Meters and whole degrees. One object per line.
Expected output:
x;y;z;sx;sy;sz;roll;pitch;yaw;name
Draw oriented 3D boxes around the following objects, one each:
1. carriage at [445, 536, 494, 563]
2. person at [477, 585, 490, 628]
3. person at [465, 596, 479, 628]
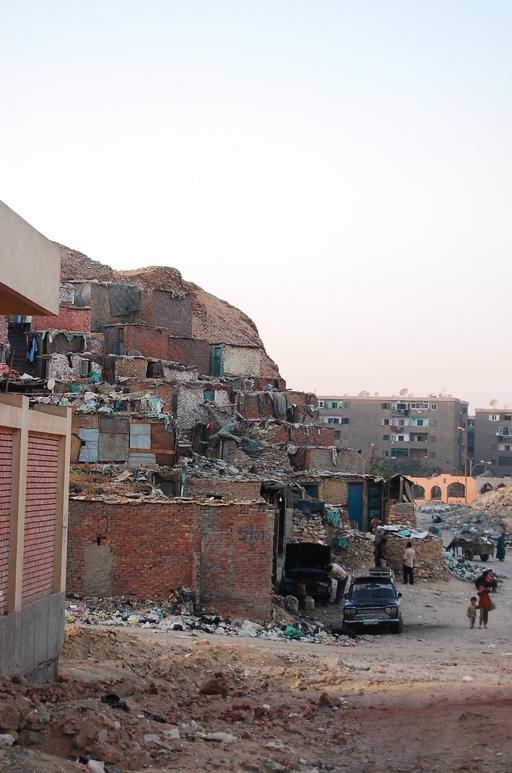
8.917;6.813;36.348;1.787;0.851;3.089;1;-4;9;carriage
4.768;4.593;18.400;0.258;0.797;0.484;0;-4;13;person
4.590;4.763;18.677;0.184;0.629;1.201;0;-4;14;person
